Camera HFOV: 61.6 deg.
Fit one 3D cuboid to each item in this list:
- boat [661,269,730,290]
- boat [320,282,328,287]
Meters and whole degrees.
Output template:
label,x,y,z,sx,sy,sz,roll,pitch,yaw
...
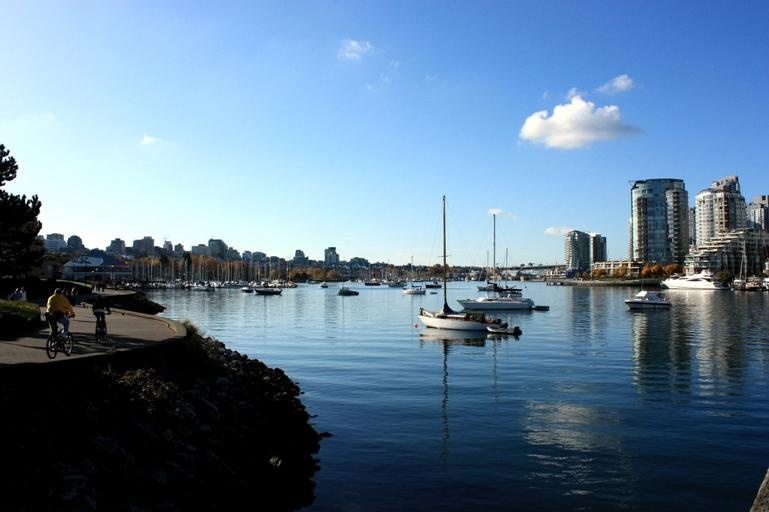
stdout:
label,x,y,z,sx,sy,sz,roll,pitch,yaw
boat,100.036,8.331,206.977,11.456,6.156,27.471,-1,2,1
boat,-25.556,11.954,270.583,2.774,1.690,4.951,0,-7,-5
